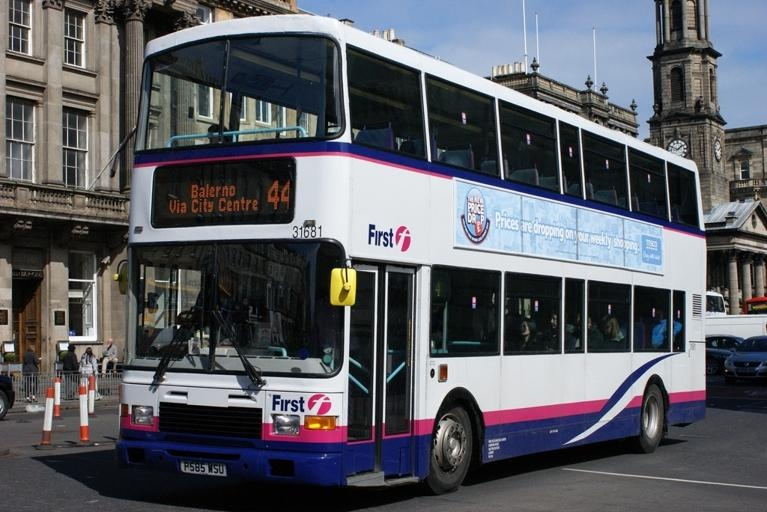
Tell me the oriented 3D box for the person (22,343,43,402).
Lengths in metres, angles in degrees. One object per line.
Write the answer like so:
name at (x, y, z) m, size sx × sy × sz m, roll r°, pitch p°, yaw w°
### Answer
person at (-11.567, 3.921, 32.145) m, size 0.503 × 1.666 × 2.256 m, roll -3°, pitch -6°, yaw -20°
